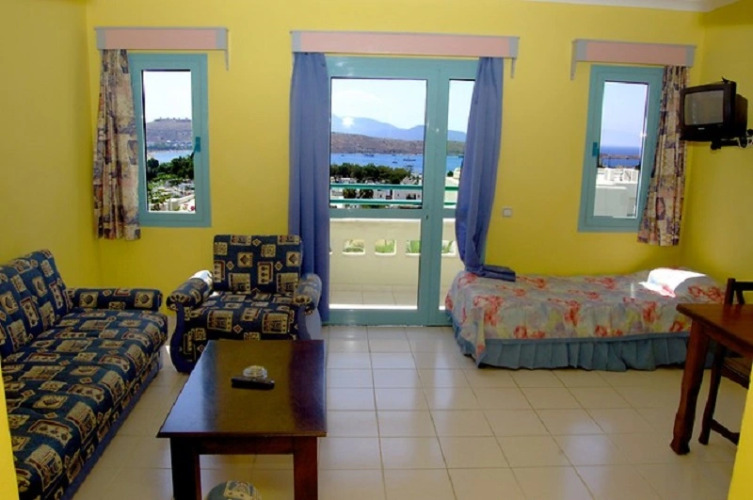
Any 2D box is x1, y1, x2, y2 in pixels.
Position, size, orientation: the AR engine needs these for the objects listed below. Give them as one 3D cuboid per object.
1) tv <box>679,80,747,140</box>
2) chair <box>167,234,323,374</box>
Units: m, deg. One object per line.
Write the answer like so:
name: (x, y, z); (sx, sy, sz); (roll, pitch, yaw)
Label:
tv: (3.018, -1.238, 4.913); (0.352, 0.585, 0.621); (-9, 9, -21)
chair: (-1.238, 0.427, 5.449); (1.575, 1.251, 1.202); (0, 3, -5)
